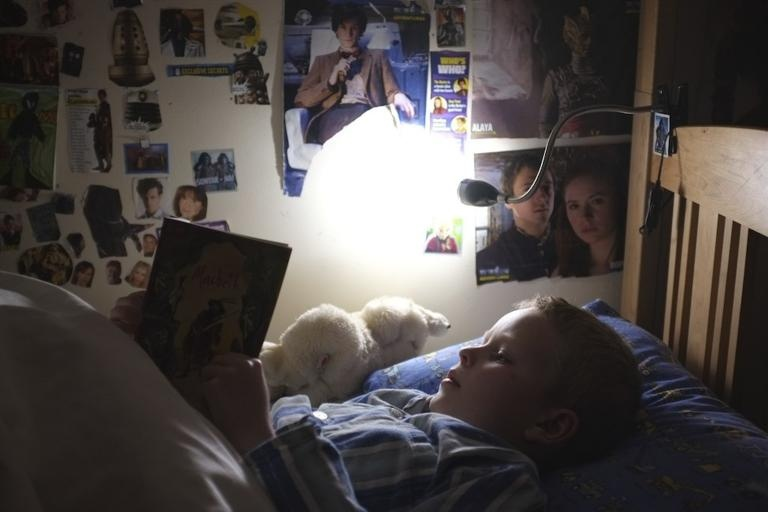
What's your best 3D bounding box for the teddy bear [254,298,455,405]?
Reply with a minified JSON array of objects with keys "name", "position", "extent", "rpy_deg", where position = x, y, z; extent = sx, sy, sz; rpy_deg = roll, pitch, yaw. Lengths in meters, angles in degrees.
[{"name":"teddy bear","position":[-0.079,0.256,1.662],"extent":[0.446,0.215,0.249],"rpy_deg":[-2,-5,-33]}]
